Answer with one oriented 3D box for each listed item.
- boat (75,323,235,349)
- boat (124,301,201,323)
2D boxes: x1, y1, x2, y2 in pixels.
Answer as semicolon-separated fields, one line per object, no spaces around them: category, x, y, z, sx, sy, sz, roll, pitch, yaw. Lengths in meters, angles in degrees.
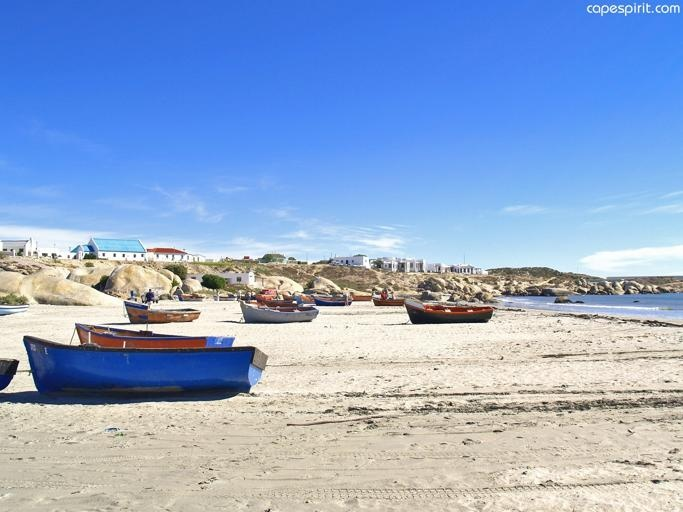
boat;-6.356;2.731;20.324;7.041;0.709;1.133;5;-11;-5
boat;-9.789;3.031;31.996;1.832;1.499;3.542;4;8;32
